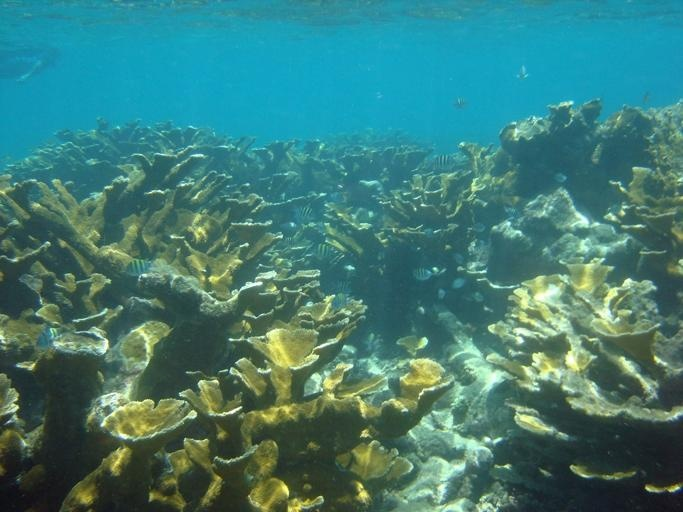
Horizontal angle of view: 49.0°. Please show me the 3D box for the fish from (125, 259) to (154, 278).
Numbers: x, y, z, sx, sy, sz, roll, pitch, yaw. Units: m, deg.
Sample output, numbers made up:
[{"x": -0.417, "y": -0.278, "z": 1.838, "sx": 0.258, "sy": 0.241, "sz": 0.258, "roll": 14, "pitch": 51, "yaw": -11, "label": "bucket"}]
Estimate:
[{"x": -4.728, "y": 0.253, "z": 17.520, "sx": 0.545, "sy": 0.335, "sz": 0.319, "roll": 2, "pitch": 27, "yaw": 8, "label": "fish"}]

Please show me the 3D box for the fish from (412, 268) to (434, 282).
[{"x": 2.112, "y": 0.492, "z": 19.279, "sx": 0.514, "sy": 0.438, "sz": 0.361, "roll": 0, "pitch": 26, "yaw": 5, "label": "fish"}]
